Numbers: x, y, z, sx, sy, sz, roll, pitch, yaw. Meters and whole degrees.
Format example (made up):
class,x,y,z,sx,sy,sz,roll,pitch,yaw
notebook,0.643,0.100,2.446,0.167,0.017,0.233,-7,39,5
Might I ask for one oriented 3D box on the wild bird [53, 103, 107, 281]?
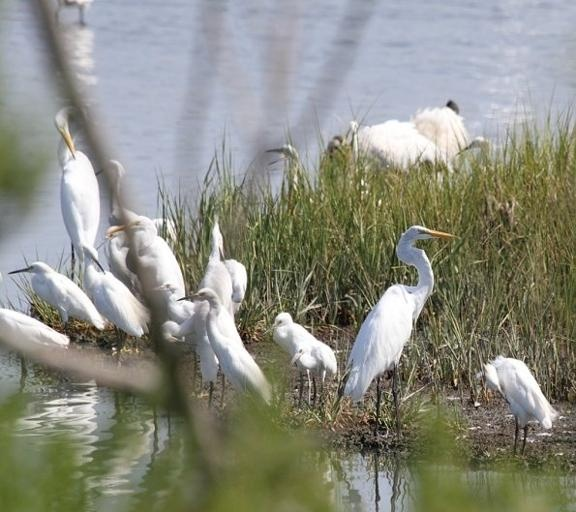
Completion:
class,x,y,z,sx,sy,sz,roll,pitch,yaw
wild bird,-0.269,-0.081,1.189,0.058,0.222,0.238,-4,26,-13

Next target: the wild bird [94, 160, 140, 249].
class,x,y,z,sx,sy,sz,roll,pitch,yaw
wild bird,-0.141,-0.041,0.754,0.030,0.073,0.061,0,34,-6
